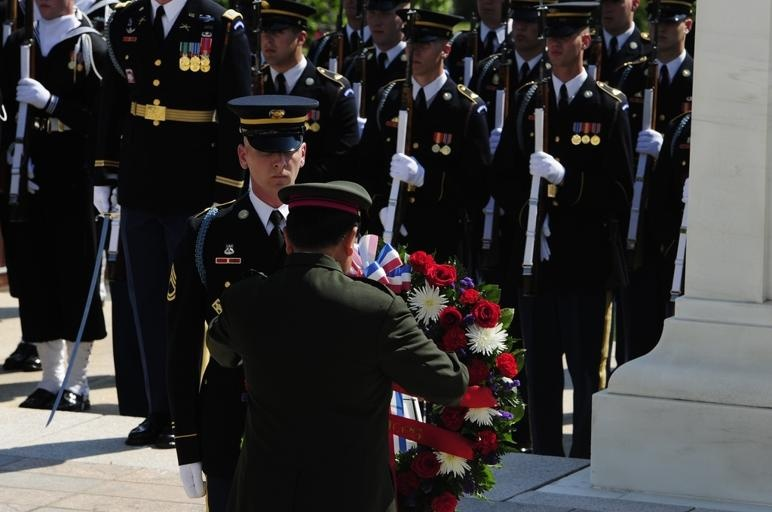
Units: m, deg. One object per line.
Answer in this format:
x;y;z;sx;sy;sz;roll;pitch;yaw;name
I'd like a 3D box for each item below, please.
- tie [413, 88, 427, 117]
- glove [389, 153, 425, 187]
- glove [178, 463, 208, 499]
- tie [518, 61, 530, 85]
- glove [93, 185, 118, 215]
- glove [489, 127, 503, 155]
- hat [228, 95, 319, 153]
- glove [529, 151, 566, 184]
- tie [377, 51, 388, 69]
0.255;-1.114;9.960;0.130;0.154;0.045;7;5;41;tie
0.151;-0.609;9.809;0.279;0.183;0.097;21;47;4;glove
-0.999;1.185;7.172;0.164;0.177;0.069;-3;9;12;glove
1.045;-1.388;10.356;0.054;0.191;0.055;9;-20;16;tie
-1.951;-0.385;9.510;0.190;0.183;0.205;9;18;25;glove
0.800;-0.853;10.103;0.074;0.167;0.149;14;8;13;glove
-0.602;-0.713;7.381;0.465;0.299;0.276;0;8;-7;hat
1.094;-0.598;9.311;0.265;0.088;0.183;25;22;-15;glove
-0.021;-1.613;11.259;0.102;0.117;0.032;2;7;19;tie
